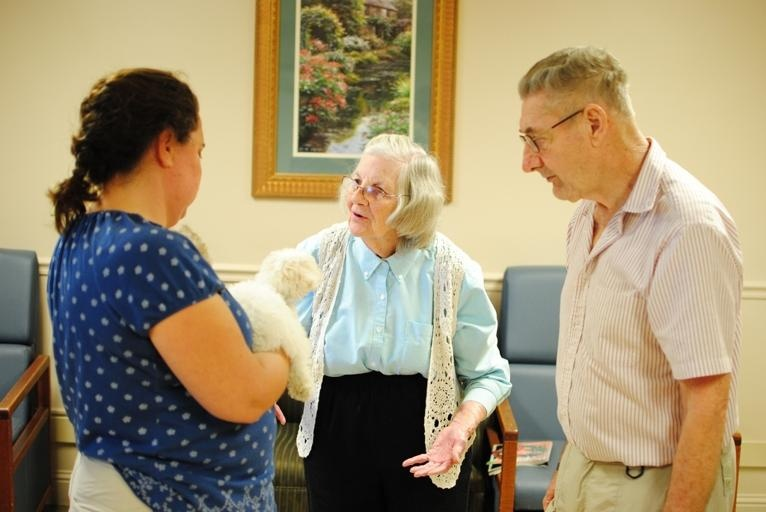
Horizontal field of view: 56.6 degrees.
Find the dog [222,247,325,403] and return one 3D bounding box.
[{"bbox_3d":[-0.390,0.233,2.262,0.289,0.506,0.441,-7,-3,42],"label":"dog"}]

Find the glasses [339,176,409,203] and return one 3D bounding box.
[{"bbox_3d":[-0.058,-0.261,2.730,0.129,0.055,0.160,8,-8,32],"label":"glasses"}]

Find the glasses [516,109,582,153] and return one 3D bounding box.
[{"bbox_3d":[0.554,-0.428,2.315,0.139,0.044,0.135,-32,9,-16],"label":"glasses"}]

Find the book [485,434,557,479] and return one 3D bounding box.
[{"bbox_3d":[0.659,0.971,3.411,0.263,0.082,0.259,-1,5,-1],"label":"book"}]

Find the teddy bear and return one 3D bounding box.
[{"bbox_3d":[-0.397,0.218,2.254,0.275,0.476,0.404,5,3,35],"label":"teddy bear"}]
